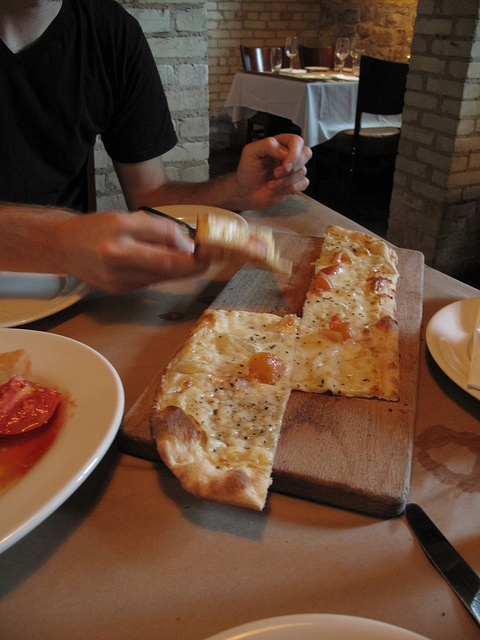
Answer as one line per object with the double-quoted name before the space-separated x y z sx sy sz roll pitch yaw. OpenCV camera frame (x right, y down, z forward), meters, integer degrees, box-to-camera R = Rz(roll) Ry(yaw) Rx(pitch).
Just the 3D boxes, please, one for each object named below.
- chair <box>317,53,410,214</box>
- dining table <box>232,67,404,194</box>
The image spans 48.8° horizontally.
"chair" 0.863 -1.283 3.839 0.609 1.128 1.333 6 29 8
"dining table" 0.463 -1.647 4.237 1.301 0.432 1.212 -15 35 -24
